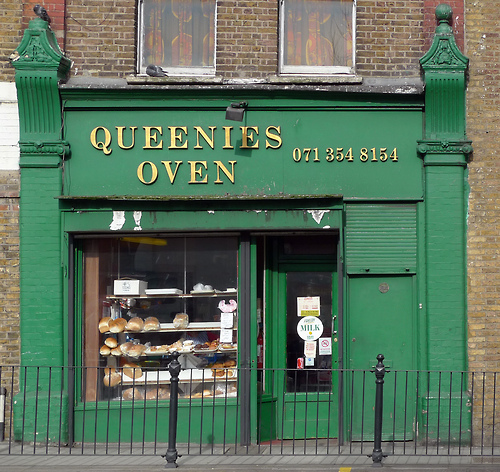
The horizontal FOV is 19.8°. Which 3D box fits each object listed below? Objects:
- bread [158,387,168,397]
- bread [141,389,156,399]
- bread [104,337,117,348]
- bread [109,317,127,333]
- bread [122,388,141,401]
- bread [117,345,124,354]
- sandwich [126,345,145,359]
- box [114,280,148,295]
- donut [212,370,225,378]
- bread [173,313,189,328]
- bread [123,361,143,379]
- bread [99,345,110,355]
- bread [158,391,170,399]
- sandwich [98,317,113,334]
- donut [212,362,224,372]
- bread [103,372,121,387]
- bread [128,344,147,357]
[{"bbox_3d":[-1.179,2.090,19.207,0.130,0.128,0.046,1,-7,-6],"label":"bread"},{"bbox_3d":[-1.330,2.113,19.186,0.124,0.123,0.097,-1,-6,-4],"label":"bread"},{"bbox_3d":[-1.878,1.439,19.341,0.123,0.081,0.134,2,3,-42],"label":"bread"},{"bbox_3d":[-1.784,1.198,19.358,0.232,0.210,0.049,-2,-6,10],"label":"bread"},{"bbox_3d":[-1.579,2.123,19.188,0.173,0.094,0.176,10,10,34],"label":"bread"},{"bbox_3d":[-1.758,1.540,19.385,0.085,0.076,0.085,1,-3,-1],"label":"bread"},{"bbox_3d":[-1.545,1.554,19.315,0.235,0.165,0.046,-3,-6,14],"label":"sandwich"},{"bbox_3d":[-1.640,0.689,19.281,0.259,0.156,0.251,1,-6,1],"label":"box"},{"bbox_3d":[-0.435,1.845,19.082,0.130,0.100,0.104,12,0,19],"label":"donut"},{"bbox_3d":[-0.923,1.134,19.356,0.190,0.164,0.129,-16,22,14],"label":"bread"},{"bbox_3d":[-1.590,1.793,19.234,0.259,0.238,0.182,-2,-6,10],"label":"bread"},{"bbox_3d":[-1.964,1.537,19.301,0.088,0.091,0.114,-3,-35,-8],"label":"bread"},{"bbox_3d":[-1.139,2.150,19.194,0.107,0.094,0.026,-4,-36,3],"label":"bread"},{"bbox_3d":[-1.965,1.217,19.347,0.200,0.199,0.059,7,-8,-8],"label":"sandwich"},{"bbox_3d":[-0.452,1.741,19.172,0.122,0.122,0.048,2,-47,8],"label":"donut"},{"bbox_3d":[-1.845,1.923,19.173,0.159,0.124,0.175,1,0,-4],"label":"bread"},{"bbox_3d":[-1.528,1.533,19.313,0.148,0.191,0.063,14,-4,10],"label":"bread"}]
